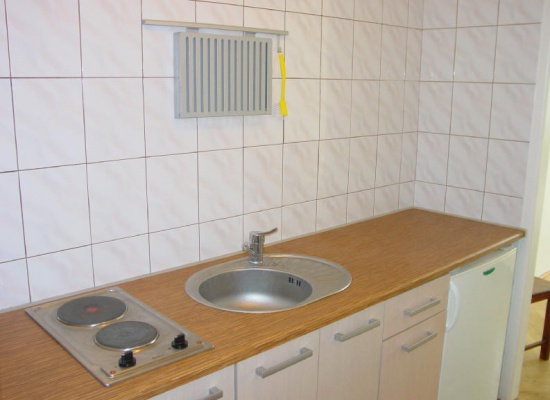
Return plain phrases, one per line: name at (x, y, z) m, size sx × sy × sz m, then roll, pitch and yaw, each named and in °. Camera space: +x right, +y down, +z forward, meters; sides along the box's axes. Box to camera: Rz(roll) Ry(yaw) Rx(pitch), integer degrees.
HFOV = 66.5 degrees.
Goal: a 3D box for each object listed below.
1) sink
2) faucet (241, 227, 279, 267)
sink at (0.002, 0.394, 1.868) m, size 0.398 × 0.109 × 0.308 m, roll -10°, pitch 20°, yaw -34°
faucet at (-0.041, 0.223, 1.966) m, size 0.233 × 0.208 × 0.095 m, roll -4°, pitch 9°, yaw -16°
